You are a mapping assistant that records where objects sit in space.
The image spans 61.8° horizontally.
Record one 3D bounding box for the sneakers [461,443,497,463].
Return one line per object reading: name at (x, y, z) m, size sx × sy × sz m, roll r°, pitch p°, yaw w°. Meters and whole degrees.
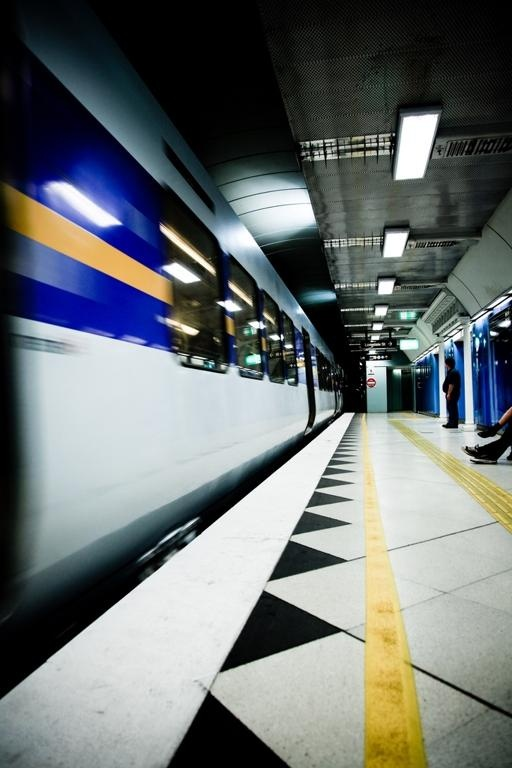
sneakers at (2.467, 0.799, 4.810) m, size 0.121 × 0.156 × 0.341 m, roll 29°, pitch 4°, yaw -37°
